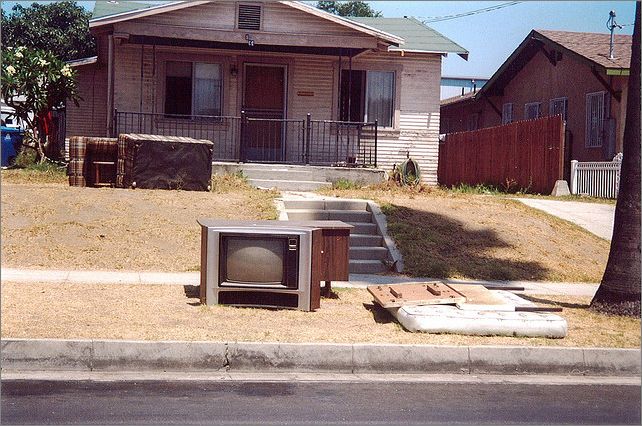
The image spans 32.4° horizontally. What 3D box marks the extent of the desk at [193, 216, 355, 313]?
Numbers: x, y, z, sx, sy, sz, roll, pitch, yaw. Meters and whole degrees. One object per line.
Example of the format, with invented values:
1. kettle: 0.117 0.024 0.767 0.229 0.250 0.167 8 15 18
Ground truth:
1. desk: -0.953 1.135 25.471 3.176 1.910 1.863 1 8 10

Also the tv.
1. tv: -1.318 1.068 25.190 2.356 1.970 1.390 2 21 0
